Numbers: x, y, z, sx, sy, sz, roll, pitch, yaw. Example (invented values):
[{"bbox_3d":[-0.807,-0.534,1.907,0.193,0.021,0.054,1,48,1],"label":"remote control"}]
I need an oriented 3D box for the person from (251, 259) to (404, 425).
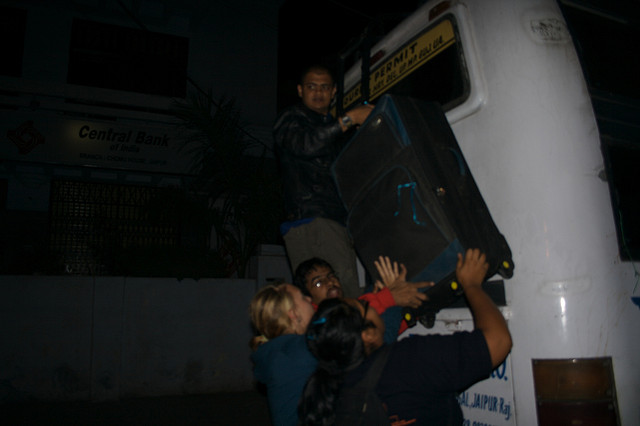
[{"bbox_3d":[-0.012,0.972,3.618,0.680,1.203,1.096,-11,-23,34],"label":"person"}]

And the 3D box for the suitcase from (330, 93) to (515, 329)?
[{"bbox_3d":[0.729,-0.054,3.824,1.069,1.576,0.935,-28,-8,40],"label":"suitcase"}]
